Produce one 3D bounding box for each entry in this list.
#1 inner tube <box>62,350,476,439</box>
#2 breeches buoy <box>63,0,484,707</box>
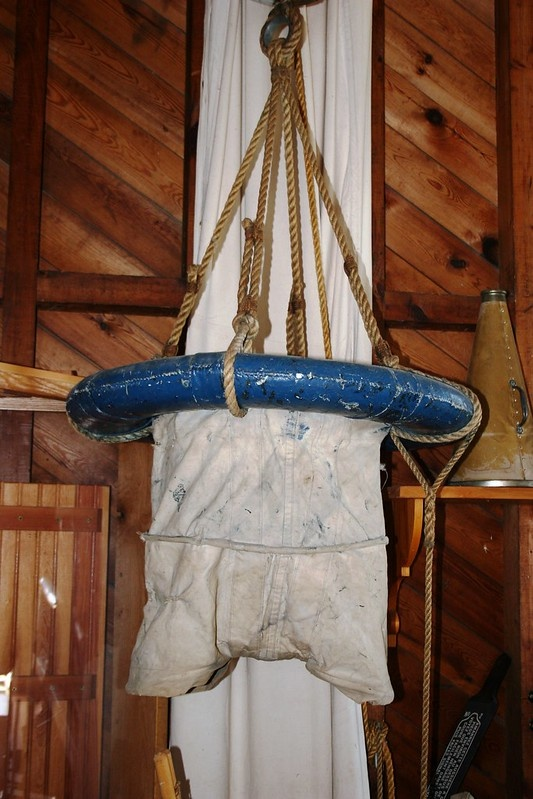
[{"bbox_3d":[-0.003,-0.002,1.822,0.675,0.834,0.145,1,85,7],"label":"inner tube"},{"bbox_3d":[0.021,0.032,1.861,0.641,0.836,0.995,2,73,2],"label":"breeches buoy"}]
